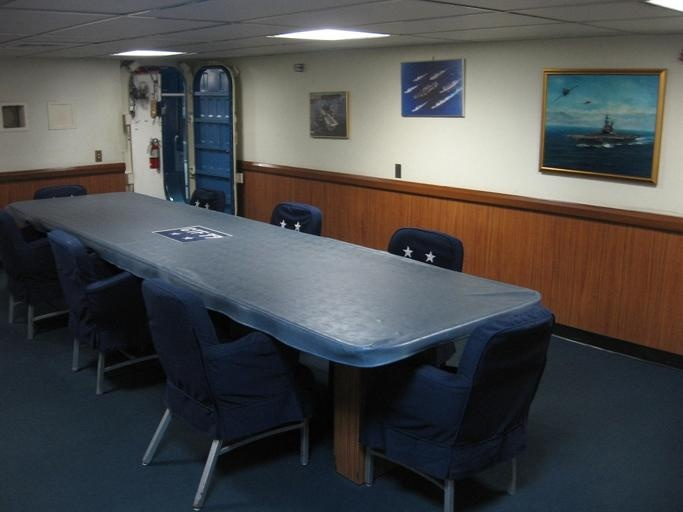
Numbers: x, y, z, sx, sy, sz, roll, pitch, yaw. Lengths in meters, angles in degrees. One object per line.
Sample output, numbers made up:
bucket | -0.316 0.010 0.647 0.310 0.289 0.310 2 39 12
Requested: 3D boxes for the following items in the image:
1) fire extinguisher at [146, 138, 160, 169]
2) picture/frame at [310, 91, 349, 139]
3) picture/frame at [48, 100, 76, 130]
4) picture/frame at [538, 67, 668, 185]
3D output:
fire extinguisher | -3.209 -1.751 8.625 0.194 0.507 0.132 -3 14 -17
picture/frame | -0.126 -1.750 6.209 0.538 0.530 0.059 16 23 41
picture/frame | -3.774 -1.895 6.764 0.027 0.382 0.376 6 12 41
picture/frame | 2.234 -1.099 4.212 0.906 0.834 0.062 18 25 37
